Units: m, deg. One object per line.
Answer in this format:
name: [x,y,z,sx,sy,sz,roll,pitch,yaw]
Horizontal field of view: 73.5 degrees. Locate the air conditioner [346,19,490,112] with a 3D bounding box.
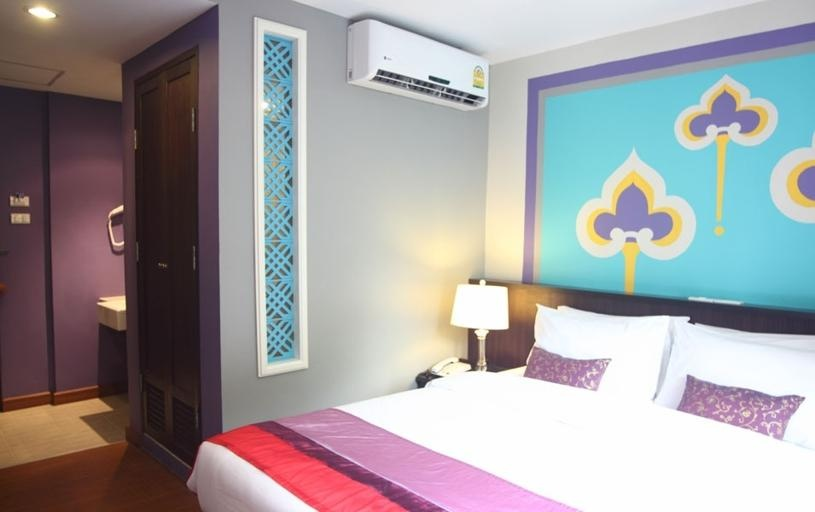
air conditioner: [0.149,-1.654,4.928,1.466,0.469,0.418,0,5,-43]

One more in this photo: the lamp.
lamp: [0.694,0.705,5.093,0.571,0.859,0.580,7,-9,-35]

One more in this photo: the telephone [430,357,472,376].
telephone: [0.414,1.045,5.149,0.253,0.093,0.194,1,-2,-43]
